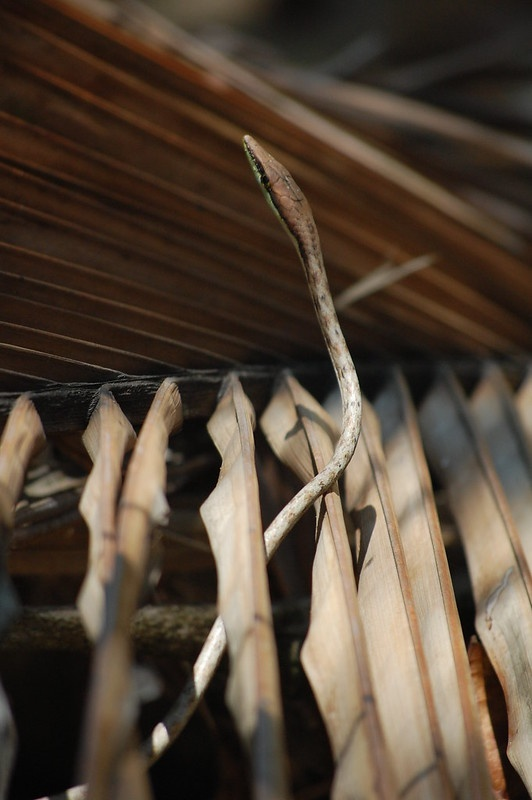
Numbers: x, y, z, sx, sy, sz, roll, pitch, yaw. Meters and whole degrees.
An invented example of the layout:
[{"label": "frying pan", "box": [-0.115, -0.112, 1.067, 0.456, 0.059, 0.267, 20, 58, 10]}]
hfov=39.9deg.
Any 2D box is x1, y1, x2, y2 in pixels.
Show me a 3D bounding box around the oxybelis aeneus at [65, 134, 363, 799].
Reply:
[{"label": "oxybelis aeneus", "box": [-0.019, 0.092, 0.753, 0.233, 0.654, 0.268, -4, 17, -23]}]
